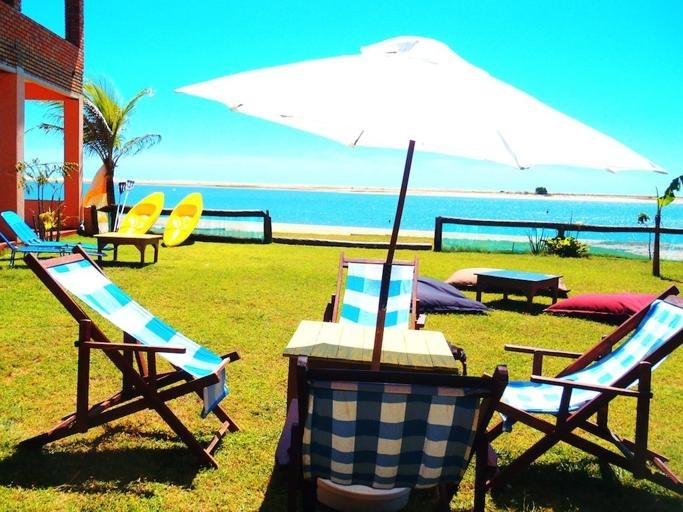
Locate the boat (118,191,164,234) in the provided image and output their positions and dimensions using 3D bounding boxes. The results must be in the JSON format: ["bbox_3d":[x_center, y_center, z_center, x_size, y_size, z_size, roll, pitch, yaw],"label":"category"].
[{"bbox_3d":[-4.746,-1.025,14.049,0.909,0.919,1.134,1,8,-12],"label":"boat"}]

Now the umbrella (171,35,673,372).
[{"bbox_3d":[0.196,-0.445,5.487,2.815,1.938,2.737,9,12,-13],"label":"umbrella"}]

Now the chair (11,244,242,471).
[{"bbox_3d":[-1.669,0.787,4.910,1.606,1.473,1.175,4,3,2],"label":"chair"}]

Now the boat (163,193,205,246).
[{"bbox_3d":[-3.882,-0.871,14.592,0.724,1.715,0.410,14,-21,11],"label":"boat"}]

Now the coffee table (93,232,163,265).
[{"bbox_3d":[-3.946,-0.107,11.351,0.647,0.563,1.139,4,3,-3],"label":"coffee table"}]
